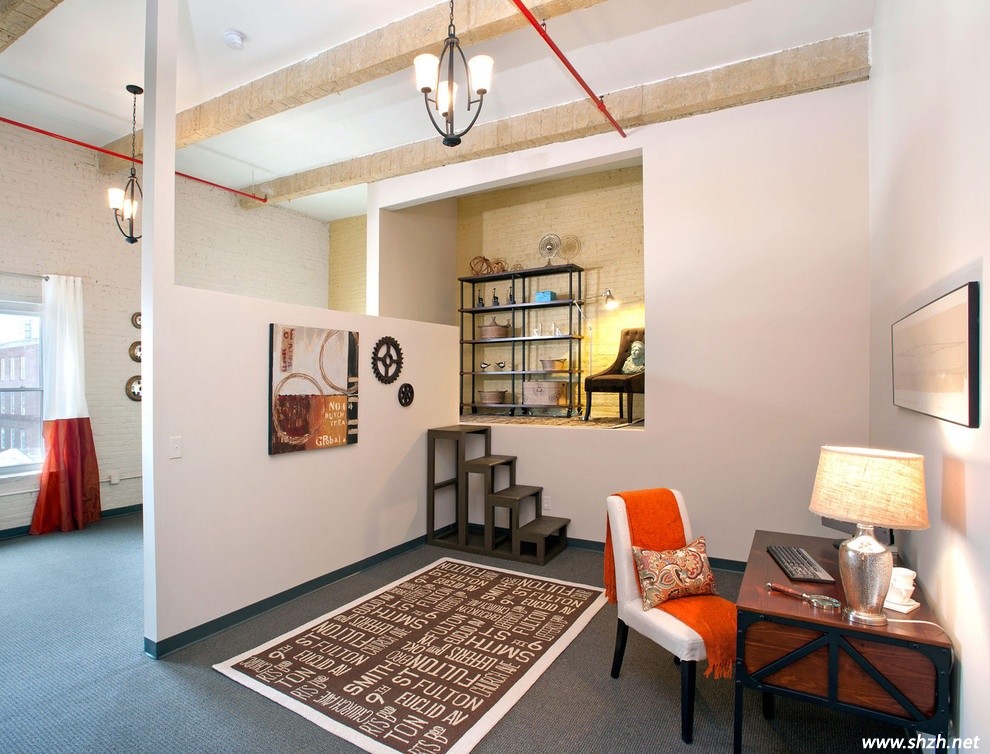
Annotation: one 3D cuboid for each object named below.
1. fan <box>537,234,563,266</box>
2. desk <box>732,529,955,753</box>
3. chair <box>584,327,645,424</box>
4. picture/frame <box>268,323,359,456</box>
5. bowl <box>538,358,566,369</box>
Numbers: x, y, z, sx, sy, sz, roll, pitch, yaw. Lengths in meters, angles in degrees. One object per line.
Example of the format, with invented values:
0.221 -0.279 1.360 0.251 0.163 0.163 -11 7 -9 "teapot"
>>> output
0.693 -1.638 8.807 0.335 0.364 0.120 11 16 41 "fan"
1.964 1.076 4.035 0.797 1.085 1.579 2 1 22 "desk"
1.315 0.015 7.606 0.591 1.067 1.185 3 12 10 "chair"
-1.447 0.073 5.577 0.141 1.077 0.962 9 14 36 "picture/frame"
0.694 -0.171 8.426 0.187 0.072 0.167 -6 -8 37 "bowl"
